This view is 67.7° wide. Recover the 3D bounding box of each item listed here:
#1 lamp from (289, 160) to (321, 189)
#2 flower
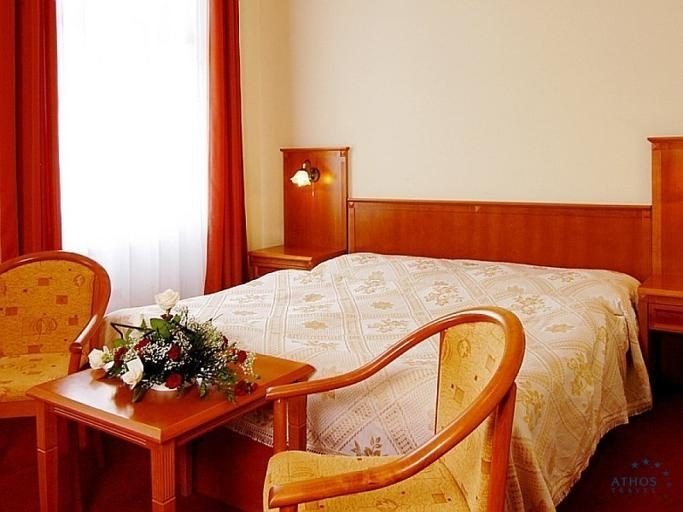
[{"bbox_3d":[-0.355,-0.735,4.667,0.212,0.251,0.243,3,2,35],"label":"lamp"},{"bbox_3d":[-0.668,0.396,2.021,0.454,0.309,0.480,5,1,-8],"label":"flower"}]
